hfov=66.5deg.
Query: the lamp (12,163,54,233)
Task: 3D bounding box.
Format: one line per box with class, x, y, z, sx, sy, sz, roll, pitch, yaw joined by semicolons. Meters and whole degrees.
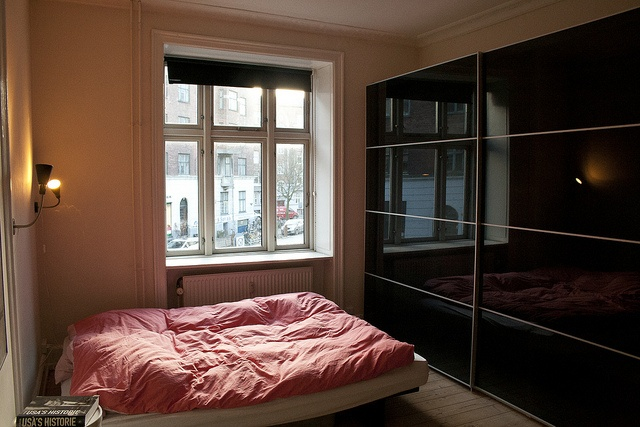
lamp;-2.378;-0.146;4.101;0.306;0.548;0.977;-5;5;-28
